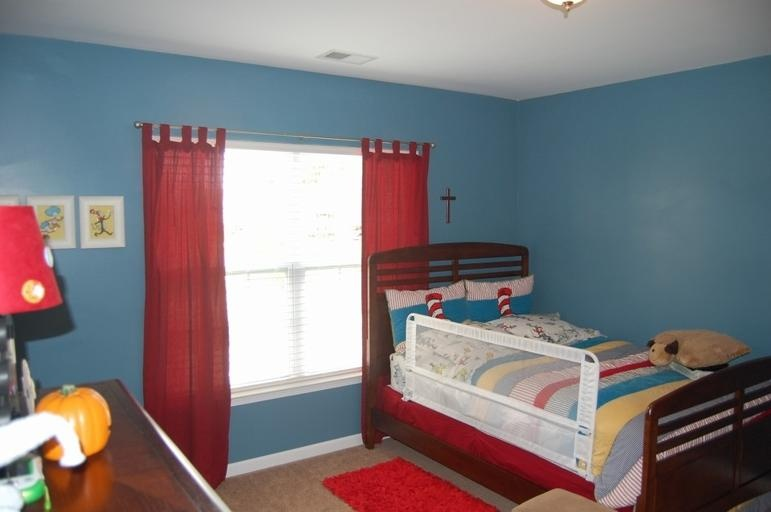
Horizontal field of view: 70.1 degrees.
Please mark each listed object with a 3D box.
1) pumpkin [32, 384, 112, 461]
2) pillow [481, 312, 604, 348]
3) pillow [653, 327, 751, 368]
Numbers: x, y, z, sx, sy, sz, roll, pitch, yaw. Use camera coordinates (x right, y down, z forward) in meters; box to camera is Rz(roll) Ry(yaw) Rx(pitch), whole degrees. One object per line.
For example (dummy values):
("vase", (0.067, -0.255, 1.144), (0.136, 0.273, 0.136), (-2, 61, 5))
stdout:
("pumpkin", (-1.491, 0.779, 2.709), (0.352, 0.345, 0.349), (0, 2, 42))
("pillow", (1.299, 0.615, 4.618), (0.450, 0.129, 0.519), (-1, 4, -43))
("pillow", (2.262, 0.665, 3.962), (0.406, 0.130, 0.402), (-16, 5, -4))
